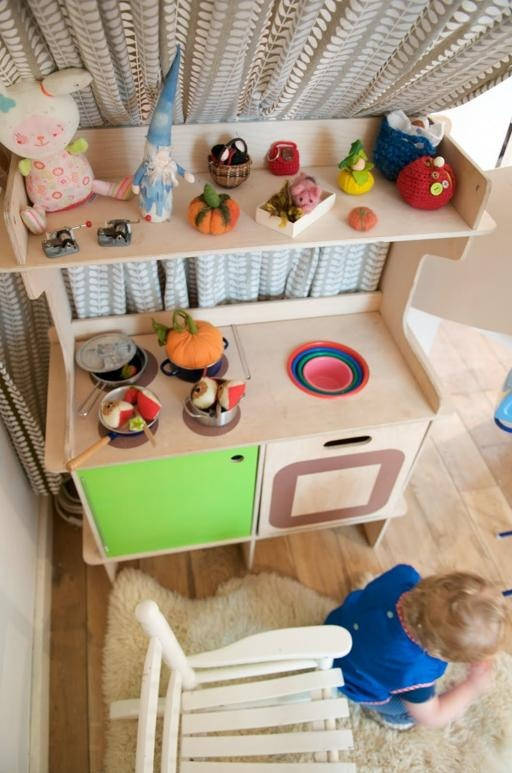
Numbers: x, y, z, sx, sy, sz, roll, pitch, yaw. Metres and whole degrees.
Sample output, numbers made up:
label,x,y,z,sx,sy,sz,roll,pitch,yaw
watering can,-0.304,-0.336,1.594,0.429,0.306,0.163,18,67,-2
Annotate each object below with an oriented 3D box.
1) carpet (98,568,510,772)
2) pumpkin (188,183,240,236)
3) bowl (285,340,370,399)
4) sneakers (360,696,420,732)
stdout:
label,x,y,z,sx,sy,sz,roll,pitch,yaw
carpet,0.065,0.772,1.516,0.762,0.328,0.727,-4,51,-3
pumpkin,-0.069,-0.347,1.119,0.096,0.093,0.094,-20,56,-17
bowl,0.173,-0.039,1.422,0.156,0.061,0.156,0,54,0
sneakers,0.331,0.819,1.436,0.126,0.046,0.093,8,91,3
